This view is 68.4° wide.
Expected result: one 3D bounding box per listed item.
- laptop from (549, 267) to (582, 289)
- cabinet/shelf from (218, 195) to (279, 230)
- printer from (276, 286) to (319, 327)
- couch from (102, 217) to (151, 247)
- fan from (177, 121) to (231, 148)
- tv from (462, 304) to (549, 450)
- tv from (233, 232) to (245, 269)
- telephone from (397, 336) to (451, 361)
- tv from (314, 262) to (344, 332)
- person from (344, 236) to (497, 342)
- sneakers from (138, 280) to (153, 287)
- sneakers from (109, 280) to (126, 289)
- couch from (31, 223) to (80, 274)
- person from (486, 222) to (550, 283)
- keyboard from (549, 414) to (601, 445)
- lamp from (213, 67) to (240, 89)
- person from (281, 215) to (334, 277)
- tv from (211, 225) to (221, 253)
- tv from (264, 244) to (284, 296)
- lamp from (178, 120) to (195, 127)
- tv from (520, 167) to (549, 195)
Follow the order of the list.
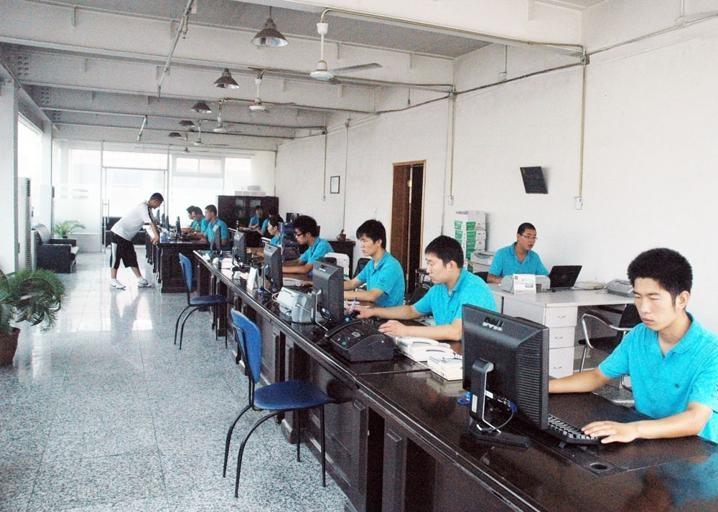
[{"bbox_3d":[2.269,0.234,5.858,0.338,0.246,0.251,-1,16,-16],"label":"laptop"},{"bbox_3d":[-3.137,-1.174,14.513,1.338,1.307,0.430,0,0,-21],"label":"cabinet/shelf"},{"bbox_3d":[-0.476,0.389,4.079,0.236,0.129,0.342,-5,7,-26],"label":"printer"},{"bbox_3d":[-5.187,-0.535,11.588,0.949,0.675,0.507,0,3,-36],"label":"couch"},{"bbox_3d":[-4.109,-3.204,13.933,1.008,0.446,0.997,-3,2,-42],"label":"fan"},{"bbox_3d":[0.680,0.588,2.466,0.195,0.529,0.508,-9,16,-29],"label":"tv"},{"bbox_3d":[-1.542,-0.052,6.765,0.134,0.377,0.387,-3,12,-21],"label":"tv"},{"bbox_3d":[0.401,0.591,3.369,0.158,0.065,0.213,0,6,-19],"label":"telephone"},{"bbox_3d":[-0.218,0.321,3.834,0.149,0.478,0.410,-5,10,-23],"label":"tv"},{"bbox_3d":[0.460,0.163,3.916,0.957,0.823,0.724,-1,3,-20],"label":"person"},{"bbox_3d":[-4.026,0.514,9.970,0.315,0.191,0.108,-5,11,-28],"label":"sneakers"},{"bbox_3d":[-4.481,0.537,9.729,0.415,0.195,0.141,6,8,38],"label":"sneakers"},{"bbox_3d":[-6.620,-0.136,11.429,0.655,0.760,1.109,-1,8,-20],"label":"couch"},{"bbox_3d":[1.980,0.046,6.426,0.725,0.966,0.498,3,16,4],"label":"person"},{"bbox_3d":[0.977,0.834,2.503,0.157,0.050,0.263,-3,11,-33],"label":"keyboard"},{"bbox_3d":[-1.815,-2.418,7.173,0.262,0.288,0.569,0,9,-15],"label":"lamp"},{"bbox_3d":[-0.717,-0.125,6.304,0.748,0.859,0.587,-2,8,-16],"label":"person"},{"bbox_3d":[-2.063,-0.229,7.605,0.140,0.439,0.425,-6,7,-15],"label":"tv"},{"bbox_3d":[-0.815,0.146,4.982,0.135,0.406,0.391,-6,13,-23],"label":"tv"},{"bbox_3d":[-3.807,-2.914,11.622,0.328,0.093,0.347,-6,11,-31],"label":"lamp"},{"bbox_3d":[2.255,-0.953,6.727,0.044,0.321,0.323,-21,23,-25],"label":"tv"}]
